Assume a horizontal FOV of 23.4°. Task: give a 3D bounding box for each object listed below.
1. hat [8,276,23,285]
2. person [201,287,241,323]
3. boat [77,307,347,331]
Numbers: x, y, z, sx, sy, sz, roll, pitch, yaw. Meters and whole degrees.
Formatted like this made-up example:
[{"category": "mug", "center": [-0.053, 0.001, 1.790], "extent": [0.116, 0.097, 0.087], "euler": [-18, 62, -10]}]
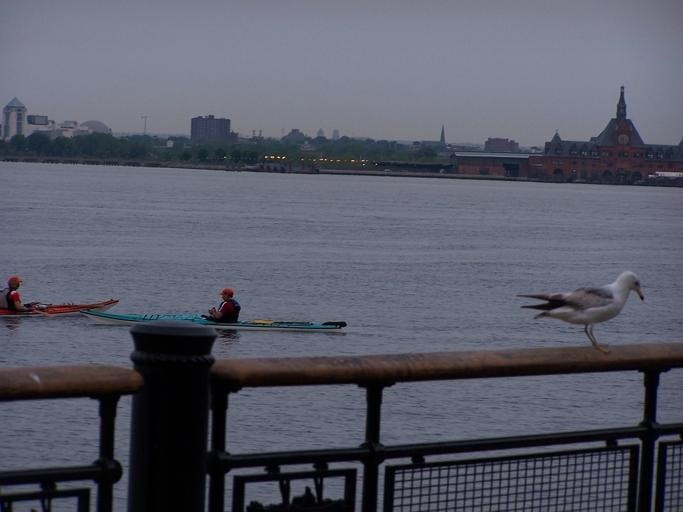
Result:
[{"category": "hat", "center": [-11.897, 0.921, 60.572], "extent": [0.356, 0.257, 0.501], "euler": [13, 15, 21]}, {"category": "person", "center": [-4.111, 1.806, 56.779], "extent": [1.614, 1.292, 1.017], "euler": [-6, 1, 19]}, {"category": "boat", "center": [-4.379, 2.095, 54.585], "extent": [7.356, 0.621, 1.129], "euler": [3, -1, 0]}]
